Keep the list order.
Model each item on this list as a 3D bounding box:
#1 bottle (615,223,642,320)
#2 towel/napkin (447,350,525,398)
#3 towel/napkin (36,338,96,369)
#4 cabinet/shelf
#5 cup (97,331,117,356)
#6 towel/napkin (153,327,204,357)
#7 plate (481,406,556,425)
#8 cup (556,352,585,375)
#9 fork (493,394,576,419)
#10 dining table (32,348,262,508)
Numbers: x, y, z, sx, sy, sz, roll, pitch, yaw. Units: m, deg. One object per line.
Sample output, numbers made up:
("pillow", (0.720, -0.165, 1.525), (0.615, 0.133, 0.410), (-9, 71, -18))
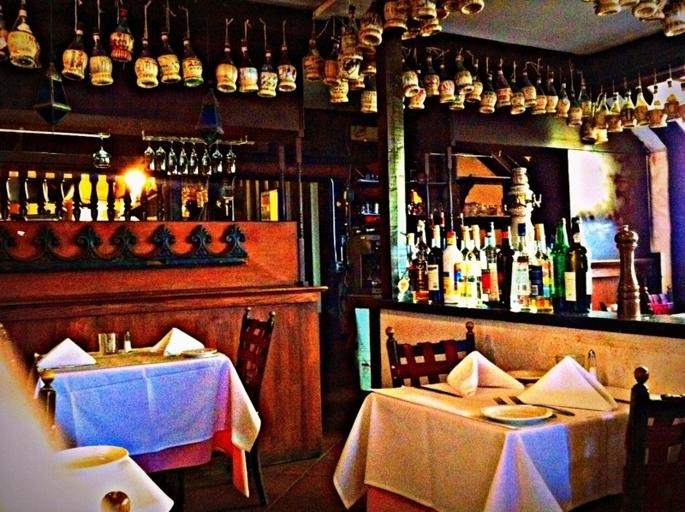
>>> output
("bottle", (1.163, 0.061, 2.542), (0.087, 0.365, 0.317), (-1, 3, 25))
("towel/napkin", (0.569, 0.482, 2.506), (0.194, 0.084, 0.194), (-2, -3, -5))
("towel/napkin", (-1.466, 0.529, 3.319), (0.188, 0.090, 0.185), (5, -6, -36))
("cabinet/shelf", (0.837, -0.340, 5.481), (1.771, 1.697, 0.577), (1, 1, -4))
("cup", (-1.397, 0.522, 3.701), (0.113, 0.118, 0.111), (0, 2, 0))
("towel/napkin", (-0.989, 0.525, 3.721), (0.185, 0.086, 0.188), (-2, -1, 35))
("plate", (0.594, 0.537, 2.122), (0.217, 0.026, 0.187), (0, 4, 35))
("cup", (0.883, 0.402, 2.417), (0.099, 0.074, 0.102), (0, 0, 0))
("fork", (0.683, 0.530, 2.181), (0.050, 0.046, 0.330), (14, -8, -41))
("dining table", (-1.027, 0.691, 3.399), (0.951, 0.599, 0.804), (-2, 1, -32))
